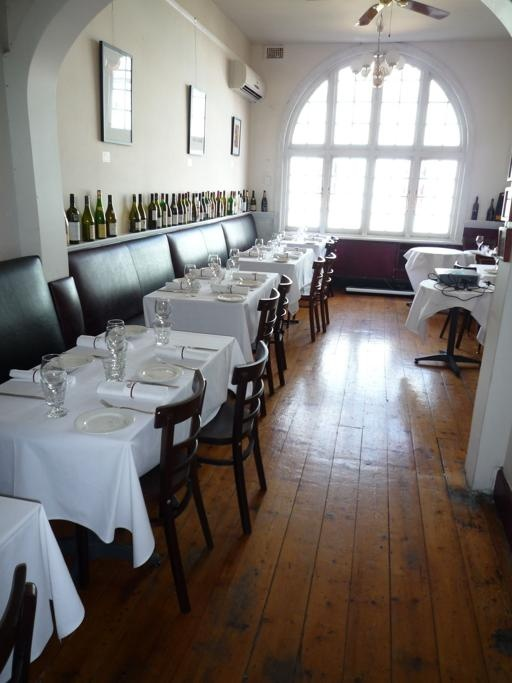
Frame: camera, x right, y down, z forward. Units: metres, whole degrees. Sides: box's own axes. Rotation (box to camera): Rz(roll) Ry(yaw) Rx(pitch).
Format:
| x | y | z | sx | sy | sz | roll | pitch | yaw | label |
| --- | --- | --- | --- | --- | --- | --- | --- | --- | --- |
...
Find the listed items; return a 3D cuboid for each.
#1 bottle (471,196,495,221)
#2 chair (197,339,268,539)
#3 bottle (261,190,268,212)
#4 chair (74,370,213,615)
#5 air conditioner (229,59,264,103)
| x | y | z | sx | sy | sz | roll | pitch | yaw | label |
| --- | --- | --- | --- | --- | --- | --- | --- | --- | --- |
| 3.802 | -2.256 | 7.699 | 0.284 | 0.459 | 0.108 | 2 | 2 | 11 | bottle |
| -0.119 | 0.485 | 2.182 | 0.386 | 0.891 | 0.446 | 8 | 21 | 12 | chair |
| 0.156 | -2.602 | 8.476 | 0.128 | 0.346 | 0.073 | 0 | 12 | -7 | bottle |
| -0.402 | 0.530 | 1.587 | 0.372 | 0.854 | 0.430 | 11 | 17 | 8 | chair |
| -0.095 | -4.083 | 7.199 | 0.198 | 0.447 | 1.133 | 12 | 20 | 13 | air conditioner |
